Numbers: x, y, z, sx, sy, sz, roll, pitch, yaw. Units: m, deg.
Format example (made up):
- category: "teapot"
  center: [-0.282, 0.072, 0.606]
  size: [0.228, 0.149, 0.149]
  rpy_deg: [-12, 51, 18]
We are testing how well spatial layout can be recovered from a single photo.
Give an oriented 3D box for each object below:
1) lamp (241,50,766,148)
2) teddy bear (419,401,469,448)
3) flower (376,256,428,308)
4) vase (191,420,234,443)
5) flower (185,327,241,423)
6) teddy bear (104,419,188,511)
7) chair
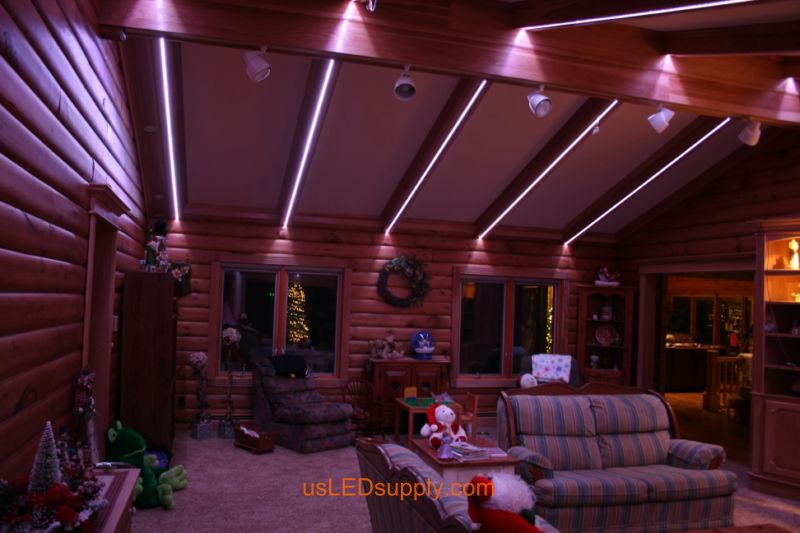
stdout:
- category: "lamp"
  center: [1.223, -1.715, 6.467]
  size: [5.649, 0.657, 1.937]
  rpy_deg: [1, 2, -12]
- category: "teddy bear"
  center: [0.502, 1.716, 6.172]
  size: [0.496, 0.541, 0.308]
  rpy_deg: [10, -13, -10]
- category: "flower"
  center: [0.081, 0.271, 9.053]
  size: [0.757, 0.831, 0.319]
  rpy_deg: [-7, 3, -17]
- category: "vase"
  center: [-2.619, 2.294, 7.986]
  size: [0.561, 0.242, 0.193]
  rpy_deg: [1, 2, -16]
- category: "flower"
  center: [-2.692, 1.584, 8.321]
  size: [0.687, 1.330, 0.776]
  rpy_deg: [1, 2, -16]
- category: "teddy bear"
  center: [-2.612, 2.027, 5.895]
  size: [0.797, 0.955, 0.746]
  rpy_deg: [-5, 1, 28]
- category: "chair"
  center: [-1.384, 1.930, 8.157]
  size: [1.369, 1.197, 0.977]
  rpy_deg: [-1, -7, 38]
